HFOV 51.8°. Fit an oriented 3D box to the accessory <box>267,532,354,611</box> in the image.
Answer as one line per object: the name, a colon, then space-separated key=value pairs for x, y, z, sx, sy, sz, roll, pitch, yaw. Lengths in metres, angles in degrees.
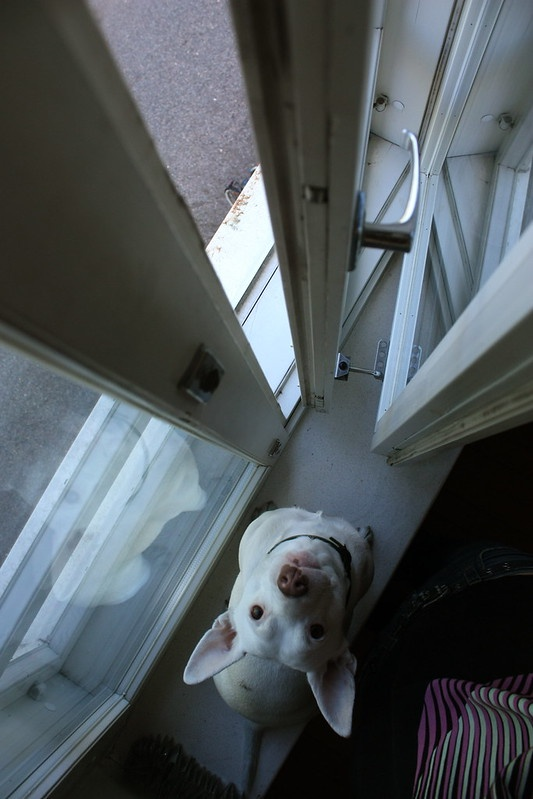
accessory: x=0.119 y=0.329 z=1.216 sx=0.136 sy=0.215 sz=0.086 roll=1 pitch=-1 yaw=19
